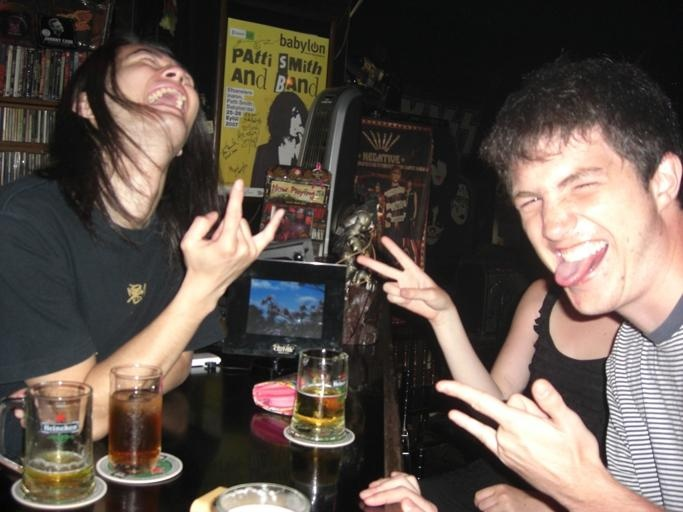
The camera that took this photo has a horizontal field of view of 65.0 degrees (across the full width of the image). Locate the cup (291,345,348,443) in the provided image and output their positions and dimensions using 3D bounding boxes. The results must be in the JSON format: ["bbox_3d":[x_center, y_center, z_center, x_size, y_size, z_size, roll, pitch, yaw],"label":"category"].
[{"bbox_3d":[-0.054,0.368,1.517,0.189,0.283,0.206,7,-2,0],"label":"cup"}]

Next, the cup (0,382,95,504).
[{"bbox_3d":[-0.589,0.394,1.114,0.131,0.210,0.099,0,13,-22],"label":"cup"}]

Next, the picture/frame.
[{"bbox_3d":[-0.197,0.184,1.899,0.378,0.354,0.092,0,-6,-4],"label":"picture/frame"}]

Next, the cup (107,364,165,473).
[{"bbox_3d":[-0.468,0.371,1.208,0.113,0.197,0.106,5,12,-1],"label":"cup"}]
